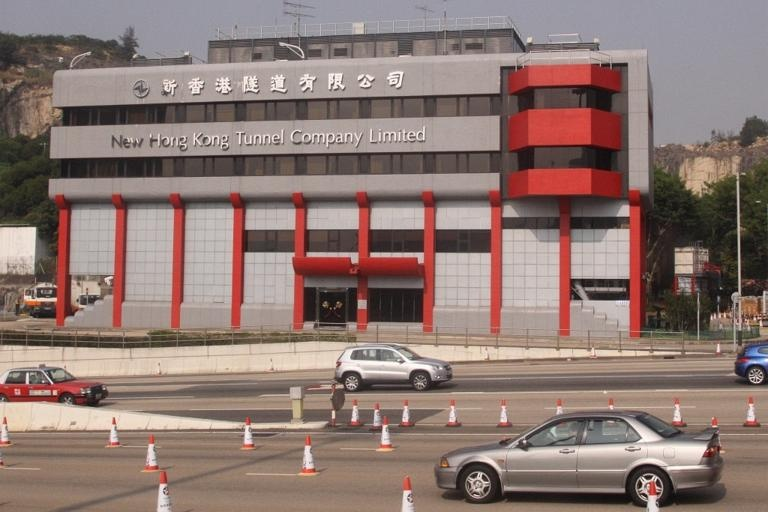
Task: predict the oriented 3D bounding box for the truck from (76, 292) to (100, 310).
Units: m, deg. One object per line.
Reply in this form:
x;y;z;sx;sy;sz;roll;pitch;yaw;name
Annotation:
-35.957;5.415;219.870;2.241;1.626;3.229;-1;-6;-6;truck

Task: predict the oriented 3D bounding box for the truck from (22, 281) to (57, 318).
-44.232;5.812;232.867;4.512;4.426;1.893;-5;-6;33;truck
